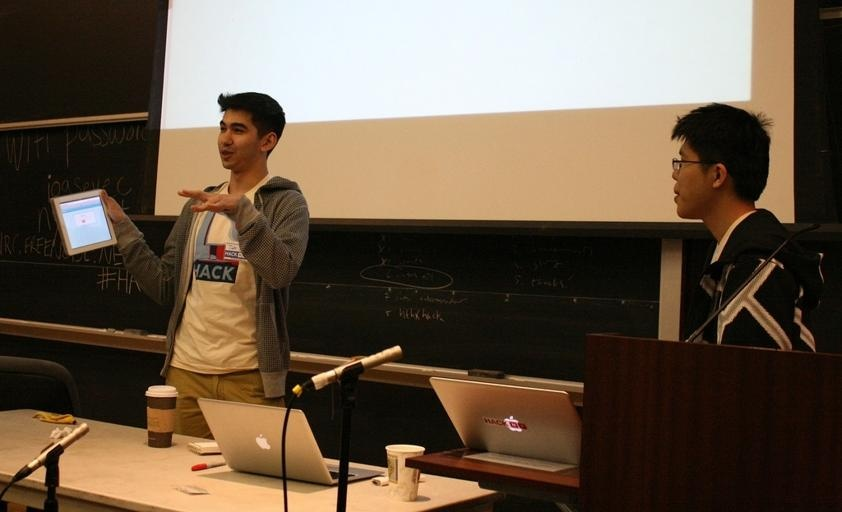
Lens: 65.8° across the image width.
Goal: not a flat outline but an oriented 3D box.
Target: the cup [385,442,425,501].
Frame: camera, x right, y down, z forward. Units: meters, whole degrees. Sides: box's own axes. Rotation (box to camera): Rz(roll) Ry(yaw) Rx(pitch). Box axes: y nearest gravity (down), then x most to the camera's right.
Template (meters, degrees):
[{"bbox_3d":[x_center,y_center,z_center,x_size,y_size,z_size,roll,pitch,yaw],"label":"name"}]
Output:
[{"bbox_3d":[-0.046,0.725,2.154,0.155,0.153,0.144,1,-17,0],"label":"cup"}]

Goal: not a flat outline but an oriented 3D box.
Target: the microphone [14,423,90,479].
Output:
[{"bbox_3d":[-1.275,0.681,2.243,0.317,0.041,0.052,-35,31,-22],"label":"microphone"}]

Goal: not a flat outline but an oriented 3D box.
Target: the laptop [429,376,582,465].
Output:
[{"bbox_3d":[0.278,0.505,1.997,0.349,0.197,0.308,-1,-2,31],"label":"laptop"}]

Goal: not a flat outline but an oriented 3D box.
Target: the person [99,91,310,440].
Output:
[{"bbox_3d":[-0.887,0.020,2.903,0.595,1.511,0.818,-6,10,-42],"label":"person"}]

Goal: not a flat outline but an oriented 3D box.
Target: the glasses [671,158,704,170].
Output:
[{"bbox_3d":[0.941,-0.322,2.281,0.141,0.038,0.132,2,3,17],"label":"glasses"}]

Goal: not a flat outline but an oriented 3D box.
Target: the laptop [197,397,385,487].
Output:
[{"bbox_3d":[-0.498,0.613,2.178,0.393,0.219,0.376,0,1,35],"label":"laptop"}]
